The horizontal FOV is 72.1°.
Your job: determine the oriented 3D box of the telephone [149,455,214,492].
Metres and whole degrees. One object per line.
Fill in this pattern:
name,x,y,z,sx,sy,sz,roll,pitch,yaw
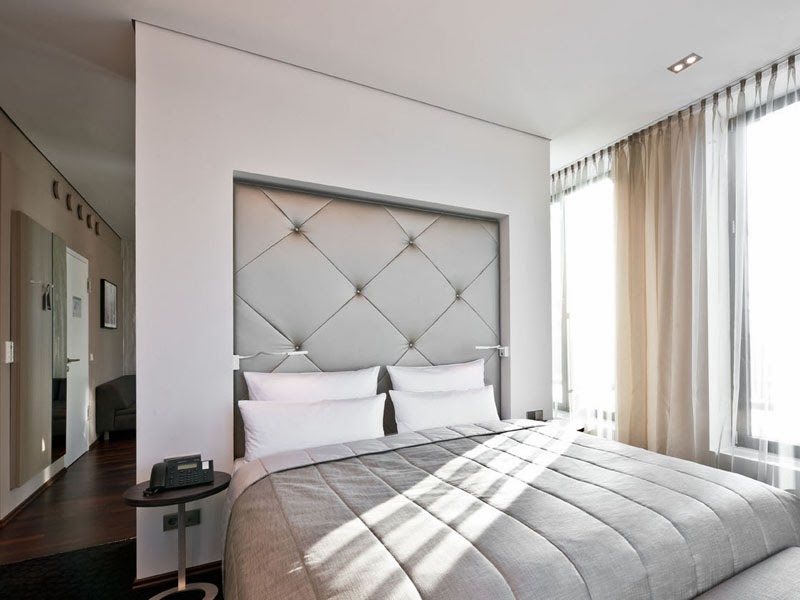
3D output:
telephone,-1.184,0.943,2.977,0.247,0.129,0.183,5,-11,-34

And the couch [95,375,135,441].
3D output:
couch,-3.256,1.260,6.250,0.387,0.520,0.734,0,1,-20
